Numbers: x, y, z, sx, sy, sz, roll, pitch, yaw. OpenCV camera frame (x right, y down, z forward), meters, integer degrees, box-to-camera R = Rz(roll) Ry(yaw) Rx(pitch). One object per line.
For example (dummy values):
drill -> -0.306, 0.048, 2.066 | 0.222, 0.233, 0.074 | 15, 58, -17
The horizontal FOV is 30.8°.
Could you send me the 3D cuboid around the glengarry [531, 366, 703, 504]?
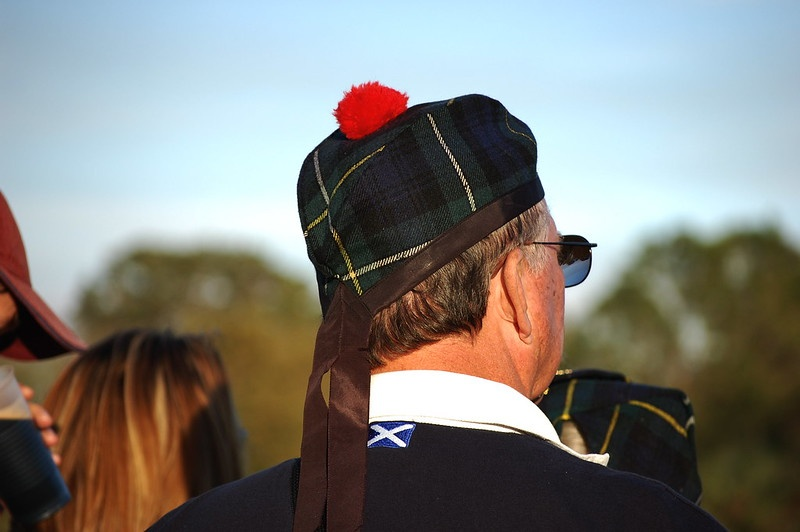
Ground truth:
glengarry -> 1.406, 0.960, 9.123 | 0.949, 0.792, 0.427 | 24, -26, 19
